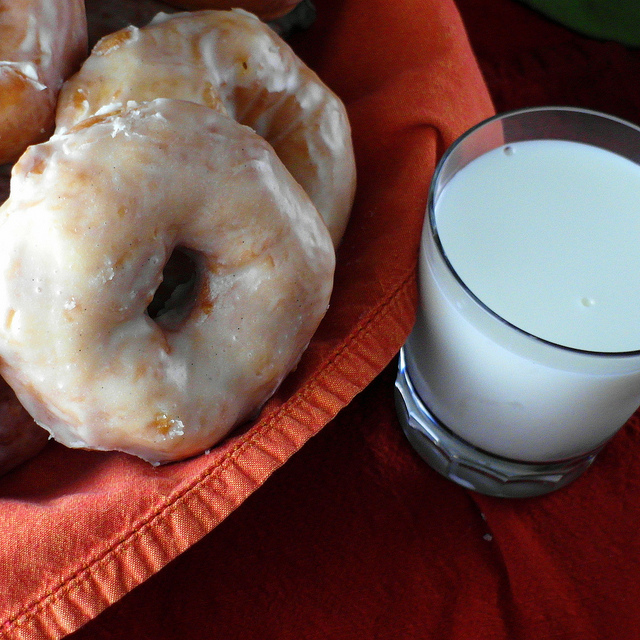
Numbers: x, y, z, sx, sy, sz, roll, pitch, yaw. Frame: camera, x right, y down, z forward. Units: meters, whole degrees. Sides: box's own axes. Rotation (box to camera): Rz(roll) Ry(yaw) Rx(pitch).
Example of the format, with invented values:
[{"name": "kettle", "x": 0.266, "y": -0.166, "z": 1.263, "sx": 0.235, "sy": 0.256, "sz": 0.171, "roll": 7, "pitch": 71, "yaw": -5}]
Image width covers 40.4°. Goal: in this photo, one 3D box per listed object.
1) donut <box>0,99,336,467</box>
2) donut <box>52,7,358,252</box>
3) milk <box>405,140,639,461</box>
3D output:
[{"name": "donut", "x": -0.092, "y": -0.021, "z": 0.493, "sx": 0.227, "sy": 0.081, "sz": 0.203, "roll": -12, "pitch": 103, "yaw": -21}, {"name": "donut", "x": -0.057, "y": -0.140, "z": 0.639, "sx": 0.179, "sy": 0.067, "sz": 0.177, "roll": -37, "pitch": 95, "yaw": -2}, {"name": "milk", "x": 0.115, "y": -0.011, "z": 0.664, "sx": 0.203, "sy": 0.219, "sz": 0.198, "roll": -3, "pitch": 69, "yaw": 3}]
